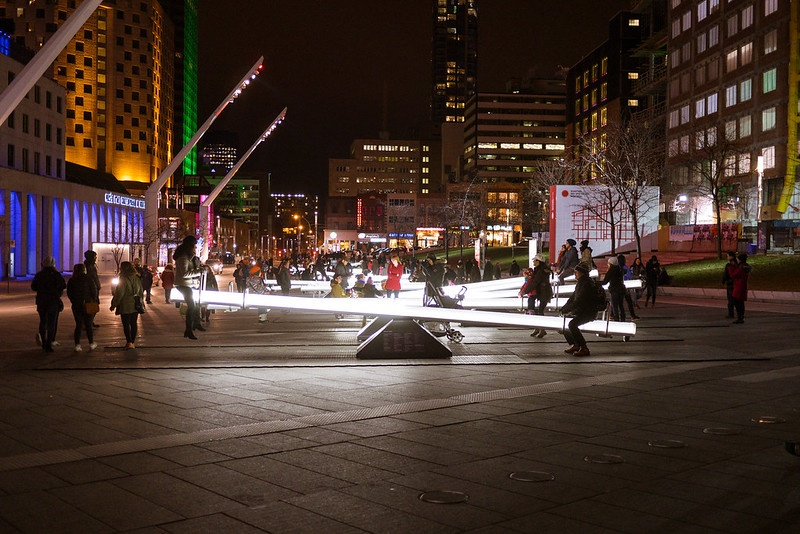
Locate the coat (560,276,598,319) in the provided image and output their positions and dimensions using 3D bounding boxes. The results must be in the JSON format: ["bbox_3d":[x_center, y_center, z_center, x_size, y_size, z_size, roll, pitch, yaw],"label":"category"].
[{"bbox_3d":[4.162,0.695,16.257,0.911,0.986,0.813,10,12,9],"label":"coat"}]

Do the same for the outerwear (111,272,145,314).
[{"bbox_3d":[-6.624,0.533,17.120,0.605,1.004,1.056,6,11,4],"label":"outerwear"}]

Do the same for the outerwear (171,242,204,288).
[{"bbox_3d":[-5.638,-0.049,18.912,0.767,1.073,1.106,2,7,-8],"label":"outerwear"}]

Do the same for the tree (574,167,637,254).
[{"bbox_3d":[14.801,-3.647,52.219,7.017,6.143,1.786,-8,1,-36],"label":"tree"}]
